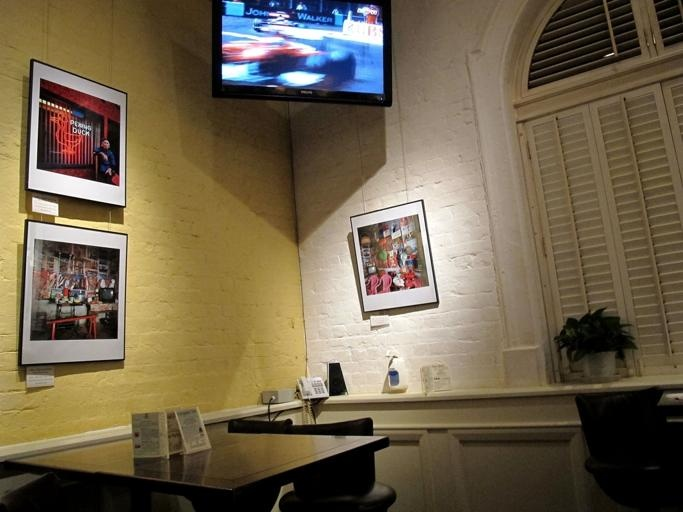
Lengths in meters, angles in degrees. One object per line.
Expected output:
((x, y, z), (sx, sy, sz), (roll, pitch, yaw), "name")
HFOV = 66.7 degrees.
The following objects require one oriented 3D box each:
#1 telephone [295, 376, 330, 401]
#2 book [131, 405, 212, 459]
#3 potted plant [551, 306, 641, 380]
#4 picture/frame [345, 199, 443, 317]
((-0.255, 1.172, 4.602), (0.253, 0.217, 0.094), (6, -37, -38), "telephone")
((-0.920, 0.935, 2.841), (0.295, 0.206, 0.325), (-9, -1, 37), "book")
((1.848, 0.682, 4.019), (0.614, 0.508, 0.576), (0, -14, 3), "potted plant")
((0.511, 0.023, 4.673), (0.985, 1.088, 0.049), (-14, -16, 26), "picture/frame")
